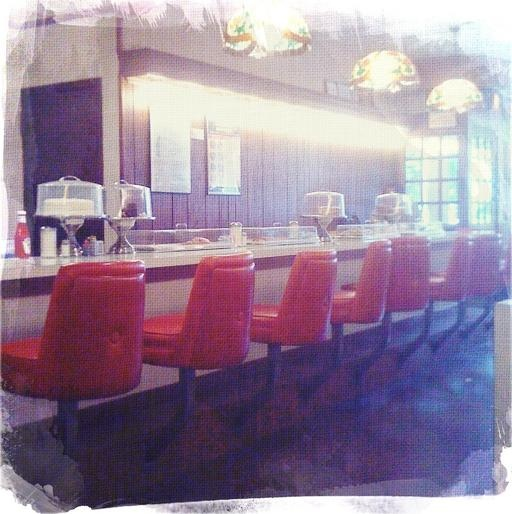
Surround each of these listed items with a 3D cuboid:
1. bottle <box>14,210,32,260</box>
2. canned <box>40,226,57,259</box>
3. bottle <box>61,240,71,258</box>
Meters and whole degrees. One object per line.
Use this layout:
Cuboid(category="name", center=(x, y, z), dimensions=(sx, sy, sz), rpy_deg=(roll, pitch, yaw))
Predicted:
Cuboid(category="bottle", center=(-0.779, -0.083, 1.971), dimensions=(0.051, 0.137, 0.196), rpy_deg=(-2, 12, -21))
Cuboid(category="canned", center=(-0.691, -0.052, 1.966), dimensions=(0.051, 0.093, 0.130), rpy_deg=(-2, 12, -21))
Cuboid(category="bottle", center=(-0.638, -0.030, 1.976), dimensions=(0.033, 0.050, 0.044), rpy_deg=(-1, 11, -14))
